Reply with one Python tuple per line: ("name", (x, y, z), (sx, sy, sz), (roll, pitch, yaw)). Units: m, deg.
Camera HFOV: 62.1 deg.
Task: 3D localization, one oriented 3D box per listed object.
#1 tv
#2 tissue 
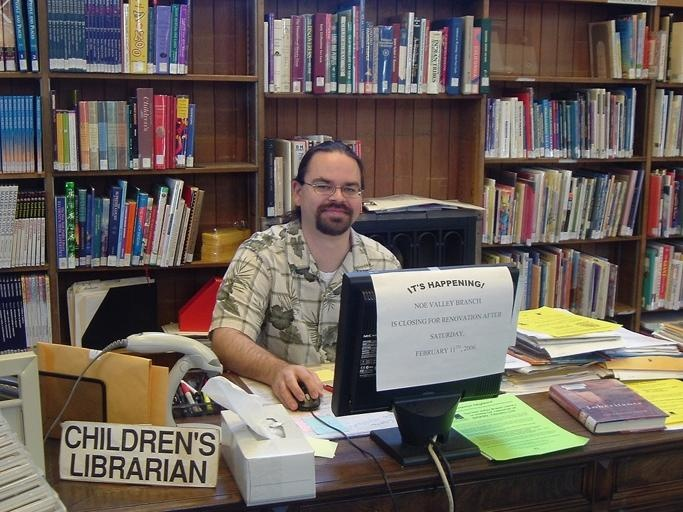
("tv", (0.181, 0.250, 1.251), (0.464, 0.377, 0.166), (-2, 19, -13))
("tissue ", (-0.174, 0.362, 1.222), (0.236, 0.252, 0.307), (-4, 10, -17))
